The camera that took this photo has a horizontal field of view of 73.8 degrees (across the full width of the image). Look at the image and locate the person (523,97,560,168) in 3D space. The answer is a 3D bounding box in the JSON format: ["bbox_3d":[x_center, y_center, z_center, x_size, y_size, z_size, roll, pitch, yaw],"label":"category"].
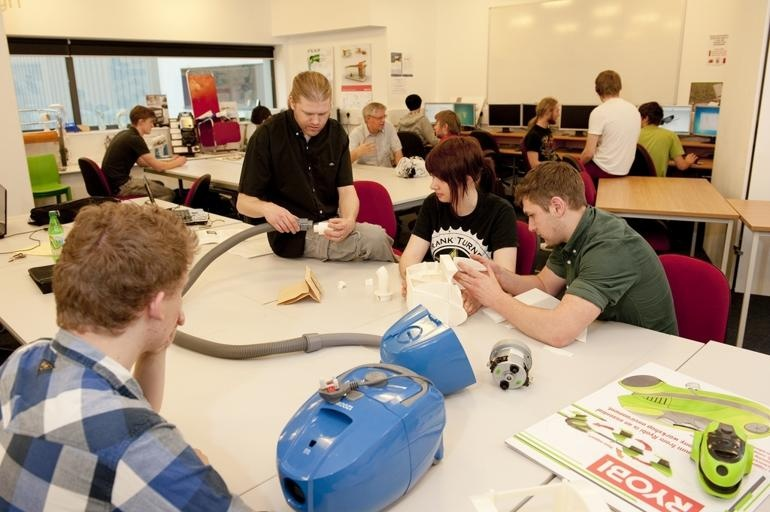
[{"bbox_3d":[1.996,-1.600,6.557,0.422,0.826,1.320,4,21,17],"label":"person"}]

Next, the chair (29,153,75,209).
[{"bbox_3d":[-3.765,-0.861,5.667,0.461,0.726,0.511,-12,24,-36],"label":"chair"}]

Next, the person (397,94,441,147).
[{"bbox_3d":[0.457,-1.900,7.211,0.660,0.735,0.524,14,26,40],"label":"person"}]

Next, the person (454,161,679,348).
[{"bbox_3d":[0.780,-0.015,2.366,0.885,0.984,0.739,-7,22,25],"label":"person"}]

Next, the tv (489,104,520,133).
[{"bbox_3d":[1.850,-2.154,7.918,0.521,0.400,0.153,10,22,33],"label":"tv"}]
